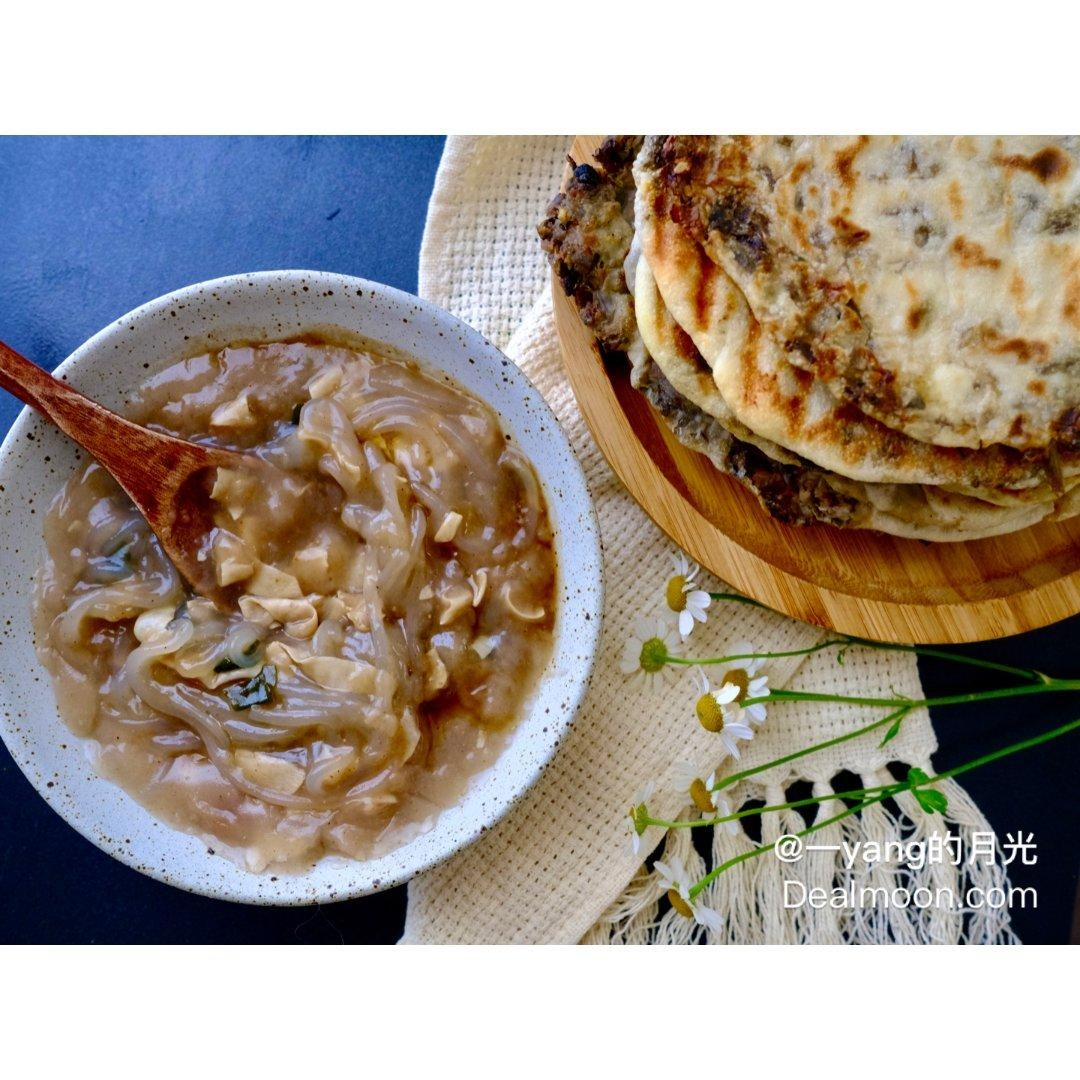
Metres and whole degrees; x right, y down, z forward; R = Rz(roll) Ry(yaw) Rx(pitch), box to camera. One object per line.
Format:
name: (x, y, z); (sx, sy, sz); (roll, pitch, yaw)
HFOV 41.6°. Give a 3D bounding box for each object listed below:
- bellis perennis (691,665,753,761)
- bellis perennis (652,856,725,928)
bellis perennis: (0.355, 0.327, 2.738); (0.102, 0.129, 0.147); (-44, 86, -9)
bellis perennis: (0.288, 0.680, 2.717); (0.053, 0.148, 0.149); (-36, 95, 14)
